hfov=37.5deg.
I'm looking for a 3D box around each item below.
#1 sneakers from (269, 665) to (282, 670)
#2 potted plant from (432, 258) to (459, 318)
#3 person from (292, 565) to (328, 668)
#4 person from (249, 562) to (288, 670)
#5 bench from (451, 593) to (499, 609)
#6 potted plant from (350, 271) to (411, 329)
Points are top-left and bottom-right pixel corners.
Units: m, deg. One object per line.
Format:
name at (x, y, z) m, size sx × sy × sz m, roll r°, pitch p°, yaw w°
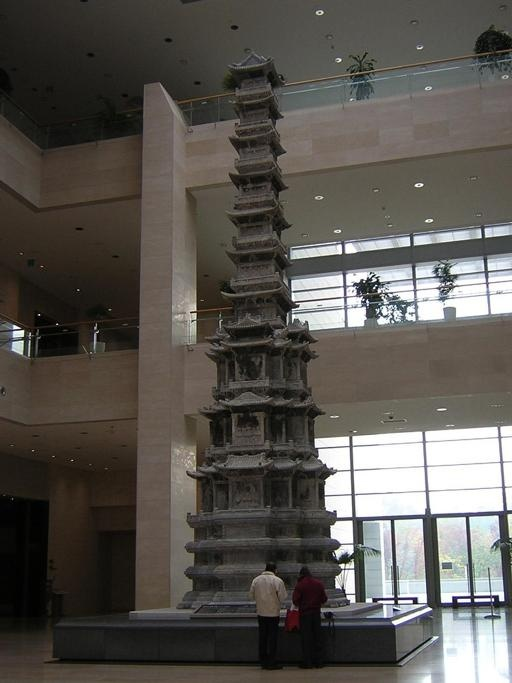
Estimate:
sneakers at (0.200, 3.310, 7.664) m, size 0.133 × 0.081 × 0.041 m, roll 1°, pitch -3°, yaw 0°
potted plant at (4.312, -1.095, 16.930) m, size 0.499 × 1.576 × 1.277 m, roll -6°, pitch -13°, yaw 14°
person at (0.587, 2.932, 7.889) m, size 0.339 × 0.878 × 0.186 m, roll 3°, pitch -14°, yaw -23°
person at (0.134, 2.883, 7.954) m, size 0.361 × 1.003 × 0.461 m, roll -2°, pitch -12°, yaw -3°
bench at (6.420, 7.576, 21.951) m, size 1.468 × 0.304 × 0.932 m, roll -1°, pitch -4°, yaw 10°
potted plant at (2.727, -0.930, 16.950) m, size 1.066 × 1.297 × 1.299 m, roll 0°, pitch -13°, yaw -13°
